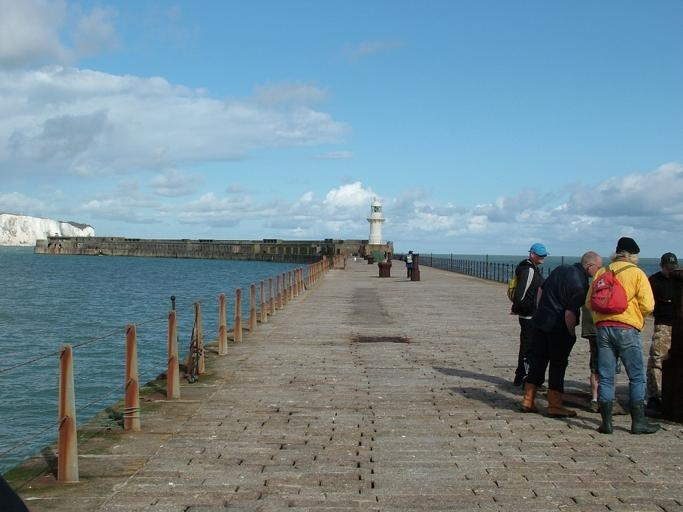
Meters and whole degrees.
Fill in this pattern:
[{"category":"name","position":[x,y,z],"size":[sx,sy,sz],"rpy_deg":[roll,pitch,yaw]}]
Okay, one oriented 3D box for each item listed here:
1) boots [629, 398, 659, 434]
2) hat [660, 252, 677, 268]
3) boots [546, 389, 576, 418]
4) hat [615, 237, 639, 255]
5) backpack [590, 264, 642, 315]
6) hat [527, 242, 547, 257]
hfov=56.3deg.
[{"category":"boots","position":[4.135,2.169,8.503],"size":[0.238,0.394,0.450],"rpy_deg":[22,-22,-35]},{"category":"hat","position":[4.366,0.068,8.437],"size":[0.196,0.135,0.268],"rpy_deg":[-2,9,13]},{"category":"boots","position":[3.183,2.149,9.271],"size":[0.608,0.404,0.250],"rpy_deg":[-2,0,-16]},{"category":"hat","position":[3.550,-0.103,7.855],"size":[0.220,0.215,0.273],"rpy_deg":[5,9,14]},{"category":"backpack","position":[3.694,0.444,8.614],"size":[0.723,0.569,0.455],"rpy_deg":[-7,11,-22]},{"category":"hat","position":[2.787,-0.075,8.965],"size":[0.180,0.129,0.254],"rpy_deg":[-3,14,-23]}]
